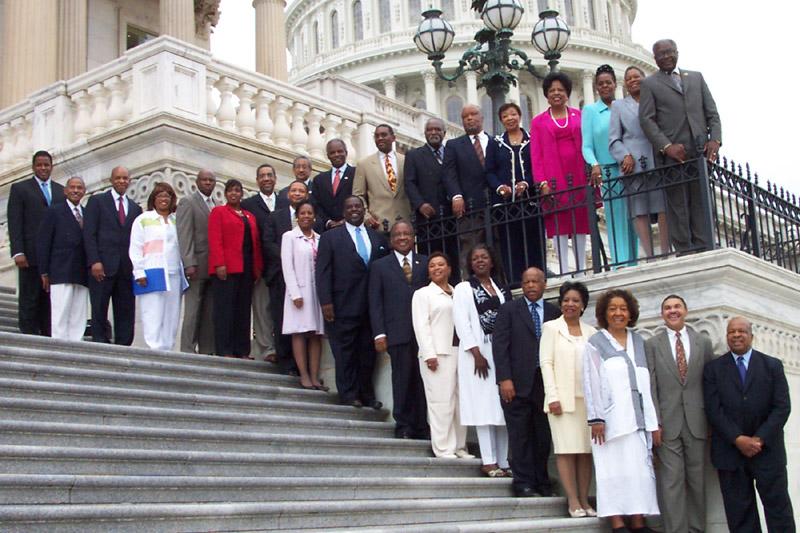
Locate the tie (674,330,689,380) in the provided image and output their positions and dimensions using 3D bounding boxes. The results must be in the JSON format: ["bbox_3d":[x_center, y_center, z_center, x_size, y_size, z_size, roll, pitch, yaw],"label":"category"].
[{"bbox_3d":[3.163,0.992,11.327,0.139,0.552,0.066,0,-10,1],"label":"tie"}]

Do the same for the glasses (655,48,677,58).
[{"bbox_3d":[3.281,-2.656,12.427,0.167,0.062,0.179,-2,-5,21],"label":"glasses"}]

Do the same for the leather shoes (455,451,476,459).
[{"bbox_3d":[0.773,2.264,12.072,0.096,0.115,0.304,2,-8,-28],"label":"leather shoes"}]

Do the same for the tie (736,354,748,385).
[{"bbox_3d":[3.820,1.138,11.231,0.135,0.314,0.113,0,-10,1],"label":"tie"}]

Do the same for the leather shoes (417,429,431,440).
[{"bbox_3d":[0.294,2.080,12.463,0.158,0.139,0.115,-3,-3,41],"label":"leather shoes"}]

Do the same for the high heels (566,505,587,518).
[{"bbox_3d":[1.993,2.736,11.237,0.190,0.104,0.282,-1,-10,4],"label":"high heels"}]

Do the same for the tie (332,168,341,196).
[{"bbox_3d":[-0.871,-1.189,13.980,0.103,0.370,0.031,-3,-11,15],"label":"tie"}]

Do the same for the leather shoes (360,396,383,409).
[{"bbox_3d":[-0.349,1.753,12.844,0.298,0.117,0.098,0,-8,23],"label":"leather shoes"}]

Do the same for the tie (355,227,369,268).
[{"bbox_3d":[-0.490,-0.277,12.956,0.214,0.518,0.100,1,-11,-6],"label":"tie"}]

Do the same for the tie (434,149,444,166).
[{"bbox_3d":[0.527,-1.503,13.574,0.106,0.278,0.233,0,-10,2],"label":"tie"}]

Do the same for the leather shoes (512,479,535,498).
[{"bbox_3d":[1.442,2.552,11.528,0.130,0.117,0.298,4,-11,-36],"label":"leather shoes"}]

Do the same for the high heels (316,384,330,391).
[{"bbox_3d":[-0.985,1.569,12.957,0.204,0.073,0.059,-2,-5,-13],"label":"high heels"}]

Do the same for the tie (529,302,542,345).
[{"bbox_3d":[1.587,0.637,11.773,0.132,0.477,0.157,-2,-11,9],"label":"tie"}]

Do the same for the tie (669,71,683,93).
[{"bbox_3d":[3.459,-2.332,12.570,0.168,0.262,0.066,-26,-7,-23],"label":"tie"}]

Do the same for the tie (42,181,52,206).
[{"bbox_3d":[-5.025,-1.060,14.297,0.156,0.367,0.162,-1,-10,6],"label":"tie"}]

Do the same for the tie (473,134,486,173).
[{"bbox_3d":[1.054,-1.564,13.506,0.157,0.470,0.059,-1,-11,8],"label":"tie"}]

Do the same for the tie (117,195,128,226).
[{"bbox_3d":[-3.807,-0.779,13.781,0.129,0.446,0.145,3,-11,-15],"label":"tie"}]

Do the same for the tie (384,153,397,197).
[{"bbox_3d":[-0.118,-1.290,13.729,0.177,0.514,0.052,7,-13,-34],"label":"tie"}]

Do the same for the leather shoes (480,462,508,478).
[{"bbox_3d":[1.130,2.398,11.809,0.312,0.141,0.225,-1,-10,3],"label":"leather shoes"}]

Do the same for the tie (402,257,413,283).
[{"bbox_3d":[0.093,0.035,12.601,0.112,0.310,0.062,-1,-10,4],"label":"tie"}]
